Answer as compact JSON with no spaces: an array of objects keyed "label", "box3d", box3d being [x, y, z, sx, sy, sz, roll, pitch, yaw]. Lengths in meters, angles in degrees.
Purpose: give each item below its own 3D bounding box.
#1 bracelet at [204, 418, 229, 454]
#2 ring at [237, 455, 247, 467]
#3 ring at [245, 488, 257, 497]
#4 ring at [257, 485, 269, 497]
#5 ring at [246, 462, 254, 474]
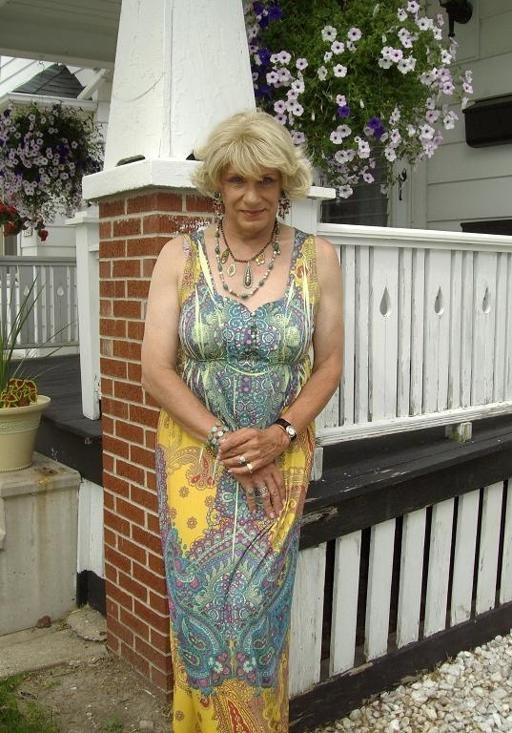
[{"label":"bracelet","box3d":[-0.088,0.157,1.492,0.046,0.061,0.014,-8,-25,45]},{"label":"ring","box3d":[-0.031,0.209,1.472,0.015,0.023,0.020,-2,-5,-5]},{"label":"ring","box3d":[-0.011,0.284,1.515,0.021,0.021,0.009,-3,6,-21]},{"label":"ring","box3d":[0.017,0.283,1.522,0.019,0.023,0.024,-5,5,-43]},{"label":"ring","box3d":[-0.014,0.224,1.478,0.021,0.021,0.018,-5,-5,-9]}]
